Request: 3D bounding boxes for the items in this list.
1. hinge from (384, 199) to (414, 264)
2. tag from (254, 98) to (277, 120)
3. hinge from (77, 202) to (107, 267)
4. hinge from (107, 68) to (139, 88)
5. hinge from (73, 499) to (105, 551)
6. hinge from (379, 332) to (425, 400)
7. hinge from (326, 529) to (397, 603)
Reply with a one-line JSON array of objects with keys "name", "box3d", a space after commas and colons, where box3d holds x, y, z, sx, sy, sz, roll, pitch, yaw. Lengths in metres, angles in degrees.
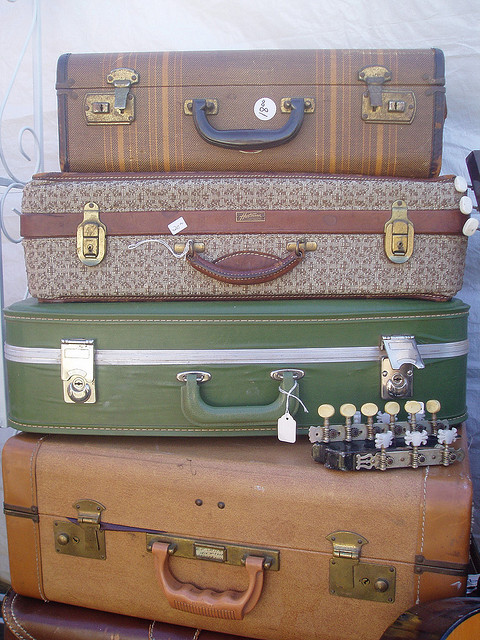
[{"name": "hinge", "box3d": [0.361, -0.198, 1.480, 0.069, 0.141, 0.020, 0, 4, -3]}, {"name": "tag", "box3d": [0.062, -0.497, 1.540, 0.046, 0.044, 0.010, 22, 2, 0]}, {"name": "hinge", "box3d": [-0.339, -0.195, 1.494, 0.068, 0.147, 0.020, 4, 11, 6]}, {"name": "hinge", "box3d": [-0.275, -0.569, 1.542, 0.075, 0.041, 0.025, -3, 19, -2]}, {"name": "hinge", "box3d": [-0.331, 0.461, 1.449, 0.076, 0.126, 0.023, 0, 4, 9]}, {"name": "hinge", "box3d": [0.351, 0.109, 1.429, 0.079, 0.148, 0.087, -2, 8, -3]}, {"name": "hinge", "box3d": [0.249, 0.486, 1.306, 0.158, 0.149, 0.018, 2, 11, 12]}]
